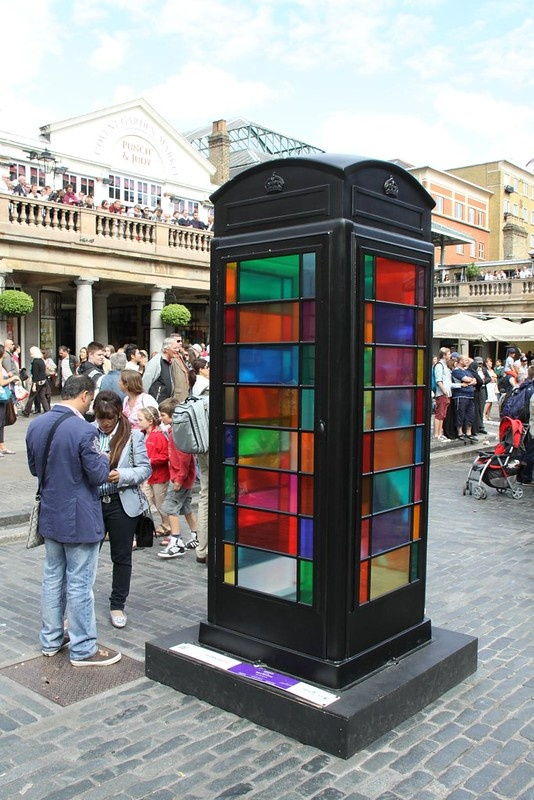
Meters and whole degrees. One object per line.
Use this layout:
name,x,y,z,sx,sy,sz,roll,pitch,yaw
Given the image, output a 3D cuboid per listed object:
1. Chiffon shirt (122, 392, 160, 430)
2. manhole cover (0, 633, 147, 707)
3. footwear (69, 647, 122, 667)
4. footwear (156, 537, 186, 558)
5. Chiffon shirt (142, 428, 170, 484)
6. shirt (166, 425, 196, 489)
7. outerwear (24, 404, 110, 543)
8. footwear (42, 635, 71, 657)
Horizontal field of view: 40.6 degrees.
Chiffon shirt,-1.100,0.106,6.276,0.315,0.295,0.169,-4,6,43
manhole cover,-1.028,1.466,3.897,0.665,0.025,0.603,2,2,41
footwear,-0.954,1.436,4.023,0.235,0.094,0.098,-1,1,-14
footwear,-0.826,1.329,6.493,0.114,0.181,0.306,-4,-5,41
Chiffon shirt,-0.958,0.526,6.745,0.322,0.483,0.404,-5,2,8
shirt,-0.698,0.584,6.454,0.191,0.426,0.298,-17,-28,12
outerwear,-1.111,0.418,3.974,0.457,0.778,0.295,1,1,-10
footwear,-1.234,1.435,4.227,0.063,0.078,0.185,3,6,13
